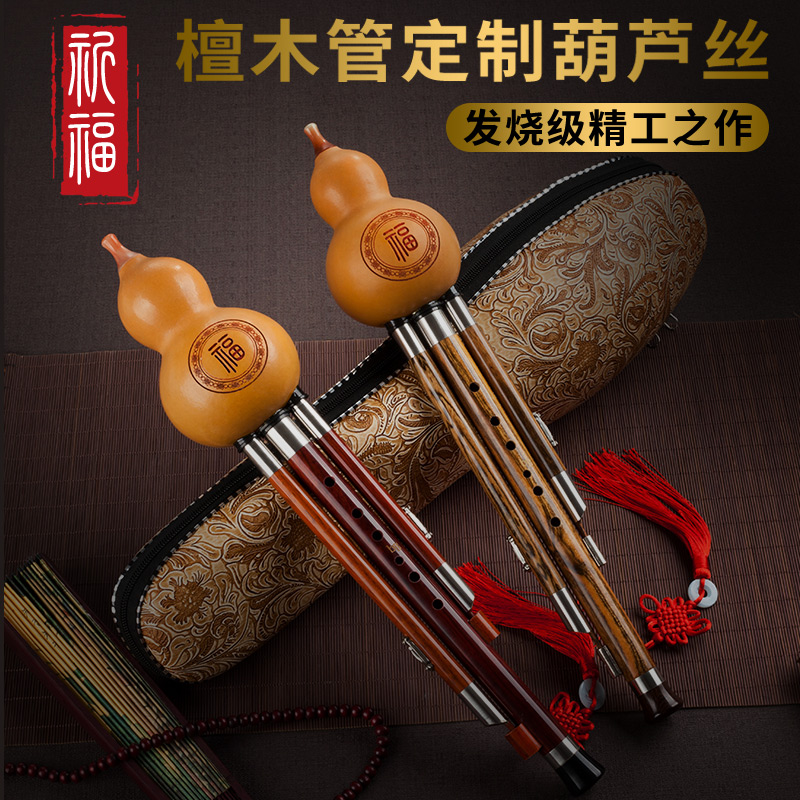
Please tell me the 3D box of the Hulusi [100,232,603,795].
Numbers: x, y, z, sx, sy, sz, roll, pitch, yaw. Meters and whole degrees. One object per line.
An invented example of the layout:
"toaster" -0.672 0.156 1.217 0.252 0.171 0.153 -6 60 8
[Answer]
"Hulusi" -0.042 0.145 1.076 0.136 0.710 0.256 -41 21 -30
